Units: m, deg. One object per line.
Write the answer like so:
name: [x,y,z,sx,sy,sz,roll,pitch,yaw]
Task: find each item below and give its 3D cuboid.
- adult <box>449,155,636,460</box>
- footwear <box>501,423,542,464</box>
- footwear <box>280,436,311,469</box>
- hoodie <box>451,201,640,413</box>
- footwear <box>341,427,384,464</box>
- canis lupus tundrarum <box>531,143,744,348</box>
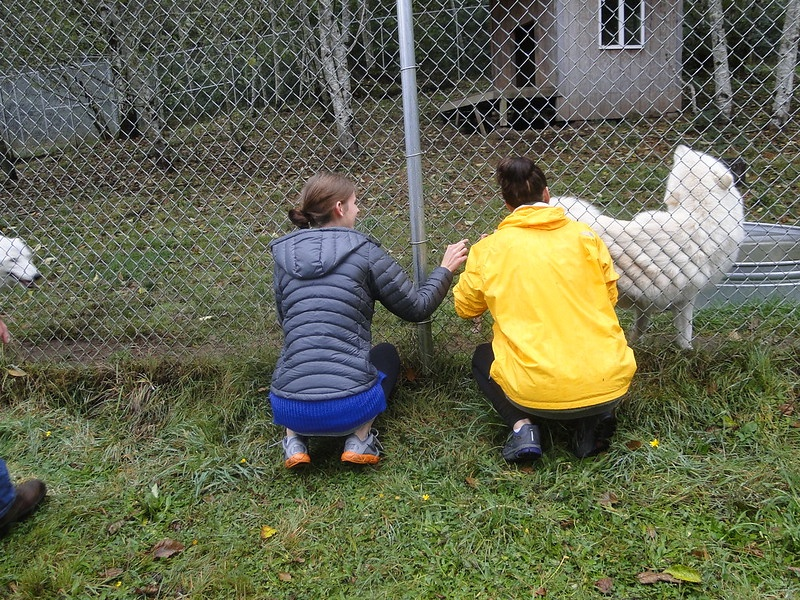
adult: [0.951,0.050,5.040,1.104,1.914,1.085,-6,5,-2]
footwear: [0.765,0.909,4.796,0.150,0.194,0.329,0,-6,-2]
footwear: [-0.666,0.980,4.861,0.107,0.133,0.289,-6,5,-15]
hoodie: [0.933,0.003,4.943,1.195,0.671,1.639,-4,42,-1]
footwear: [-0.236,0.952,4.958,0.148,0.143,0.299,3,3,20]
canis lupus tundrarum: [1.863,-0.135,5.782,1.440,0.964,0.393,2,13,-35]
